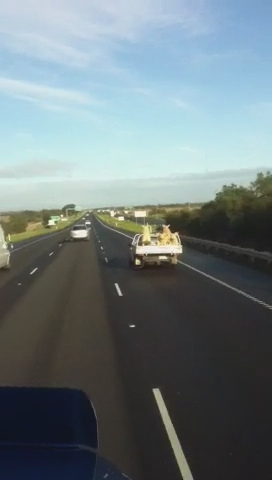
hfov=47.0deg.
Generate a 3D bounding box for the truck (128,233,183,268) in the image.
[{"bbox_3d":[0.966,0.883,18.417,1.641,1.608,3.145,-1,14,-5],"label":"truck"}]

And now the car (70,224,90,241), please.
[{"bbox_3d":[-7.382,-0.920,40.754,2.140,2.111,2.732,0,0,-17],"label":"car"}]
